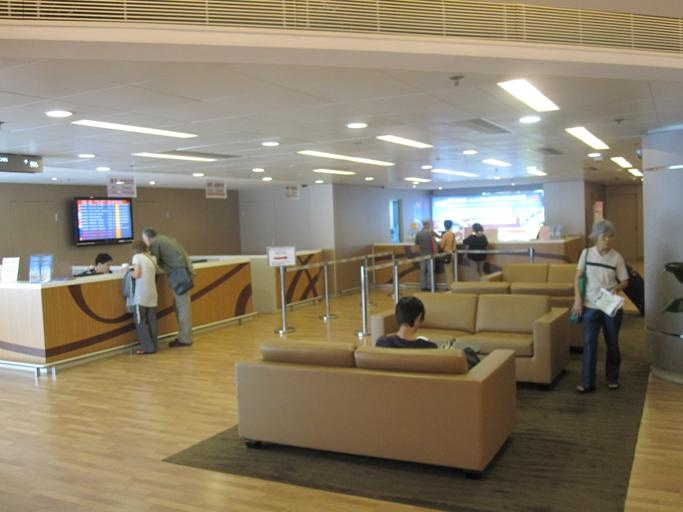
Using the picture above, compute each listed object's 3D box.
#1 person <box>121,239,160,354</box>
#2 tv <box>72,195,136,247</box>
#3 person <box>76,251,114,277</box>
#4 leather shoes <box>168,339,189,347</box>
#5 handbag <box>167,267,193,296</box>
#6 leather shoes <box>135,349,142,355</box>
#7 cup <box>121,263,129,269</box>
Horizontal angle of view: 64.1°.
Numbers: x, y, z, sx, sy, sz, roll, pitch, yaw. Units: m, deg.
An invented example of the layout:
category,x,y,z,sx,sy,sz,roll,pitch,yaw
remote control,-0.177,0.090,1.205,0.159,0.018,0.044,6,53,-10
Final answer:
category,x,y,z,sx,sy,sz,roll,pitch,yaw
person,-3.078,0.640,8.438,0.429,1.727,0.412,-4,6,-14
tv,-6.008,-0.866,13.586,1.357,1.107,0.175,-5,1,-45
person,-3.969,0.133,8.811,0.391,0.327,1.223,-5,6,-26
leather shoes,-2.651,1.412,8.873,0.376,0.153,0.141,-2,-2,11
handbag,-2.575,0.396,8.690,0.398,0.420,0.180,-8,10,0
leather shoes,-3.145,1.494,8.456,0.071,0.040,0.121,1,1,-35
cup,-3.444,0.165,8.670,0.160,0.115,0.157,1,6,0
